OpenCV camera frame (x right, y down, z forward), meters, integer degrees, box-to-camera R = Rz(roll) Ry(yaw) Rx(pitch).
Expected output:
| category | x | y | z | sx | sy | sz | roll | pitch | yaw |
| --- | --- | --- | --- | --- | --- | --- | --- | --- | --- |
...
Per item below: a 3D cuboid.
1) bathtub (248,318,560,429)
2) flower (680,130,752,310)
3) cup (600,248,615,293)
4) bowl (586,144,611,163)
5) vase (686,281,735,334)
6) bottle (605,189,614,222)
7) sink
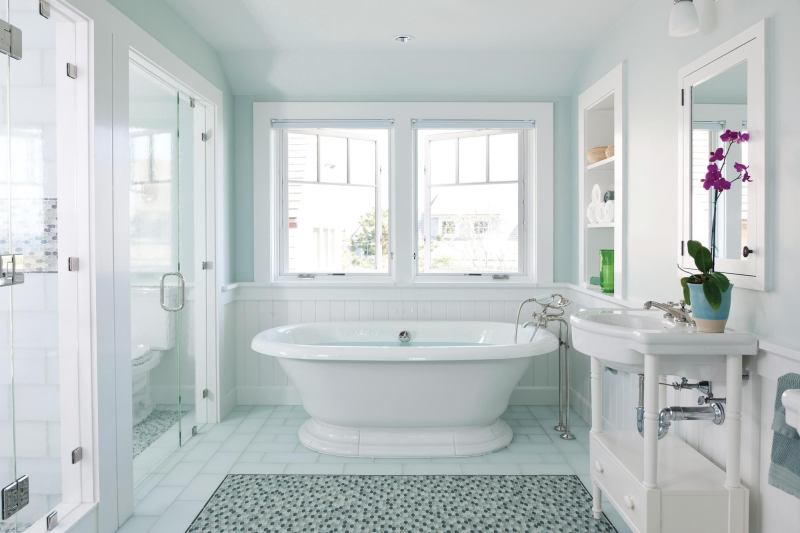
| category | x | y | z | sx | sy | sz | roll | pitch | yaw |
| --- | --- | --- | --- | --- | --- | --- | --- | --- | --- |
| bathtub | 0.031 | 0.787 | 4.434 | 2.247 | 0.651 | 1.015 | -1 | 11 | -2 |
| flower | 1.648 | -0.263 | 2.918 | 0.255 | 0.898 | 0.500 | 6 | 14 | 31 |
| cup | 1.536 | 0.036 | 4.146 | 0.061 | 0.313 | 0.137 | -2 | 12 | -6 |
| bowl | 1.548 | -0.889 | 4.395 | 0.135 | 0.062 | 0.164 | -3 | 8 | 4 |
| vase | 1.526 | 0.210 | 2.863 | 0.249 | 0.249 | 0.239 | 0 | -1 | 0 |
| bottle | 1.575 | -0.454 | 4.241 | 0.046 | 0.223 | 0.106 | -2 | 12 | -8 |
| sink | 1.429 | 0.440 | 3.291 | 0.704 | 0.224 | 1.020 | 2 | 2 | 3 |
